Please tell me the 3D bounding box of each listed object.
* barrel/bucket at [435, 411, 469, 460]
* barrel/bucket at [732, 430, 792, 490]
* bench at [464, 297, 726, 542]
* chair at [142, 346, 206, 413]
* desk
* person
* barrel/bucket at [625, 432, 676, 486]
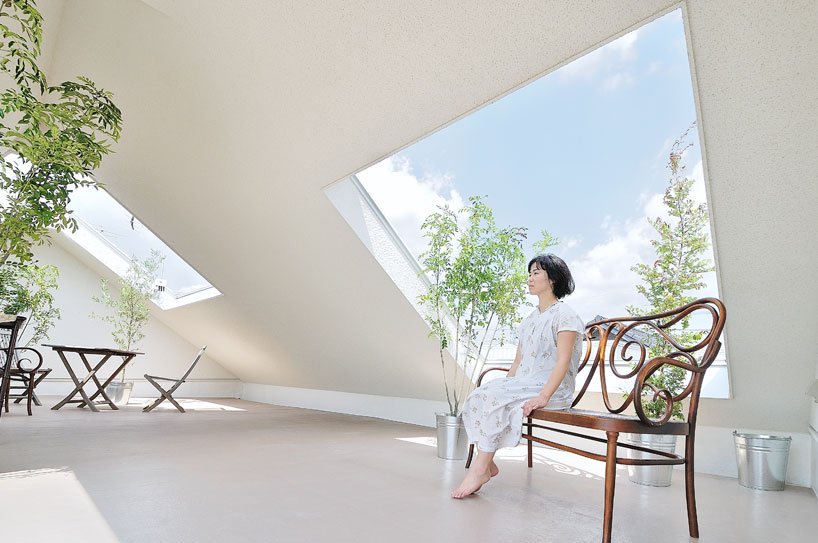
[{"bbox_3d":[0.425,1.590,4.554,0.393,0.398,0.410,2,-5,0],"label":"barrel/bucket"},{"bbox_3d":[3.039,1.610,3.913,0.423,0.415,0.411,5,-11,1],"label":"barrel/bucket"},{"bbox_3d":[1.484,1.129,3.458,0.619,1.021,1.472,11,-17,-20],"label":"bench"},{"bbox_3d":[-4.284,1.952,8.301,0.725,0.919,3.531,14,-13,-22],"label":"chair"},{"bbox_3d":[-5.043,1.625,7.072,1.045,0.839,1.016,7,-13,-42],"label":"desk"},{"bbox_3d":[0.811,0.735,3.262,0.763,1.813,0.488,5,-12,20],"label":"person"},{"bbox_3d":[2.052,1.562,3.876,0.382,0.420,0.394,6,-15,2],"label":"barrel/bucket"}]
